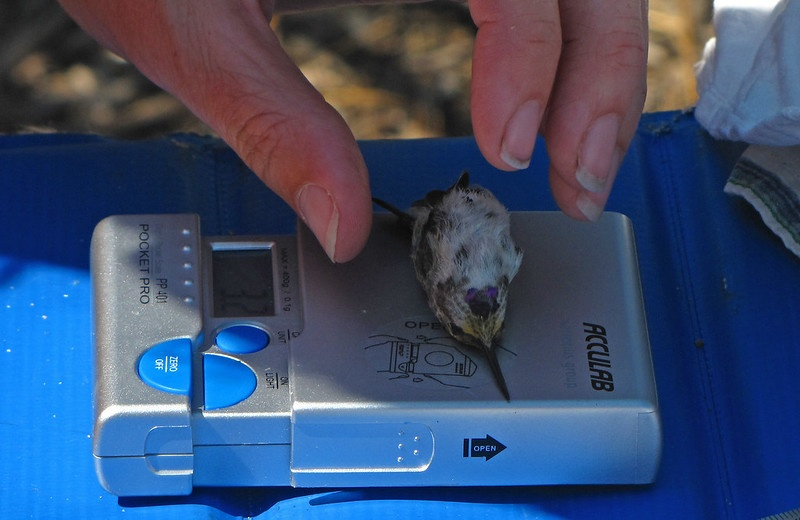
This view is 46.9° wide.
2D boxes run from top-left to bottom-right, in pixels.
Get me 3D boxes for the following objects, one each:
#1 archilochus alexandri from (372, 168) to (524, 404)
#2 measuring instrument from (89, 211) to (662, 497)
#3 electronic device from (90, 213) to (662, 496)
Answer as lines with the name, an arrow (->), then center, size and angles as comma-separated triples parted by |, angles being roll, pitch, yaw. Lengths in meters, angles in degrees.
archilochus alexandri -> 0.101, 0.068, 2.180 | 0.306, 0.433, 0.397 | 3, 31, 5
measuring instrument -> -0.035, 0.278, 2.294 | 1.240, 0.365, 0.719 | -2, 29, 1
electronic device -> -0.053, 0.240, 2.079 | 1.074, 0.309, 0.683 | -2, 61, -5
